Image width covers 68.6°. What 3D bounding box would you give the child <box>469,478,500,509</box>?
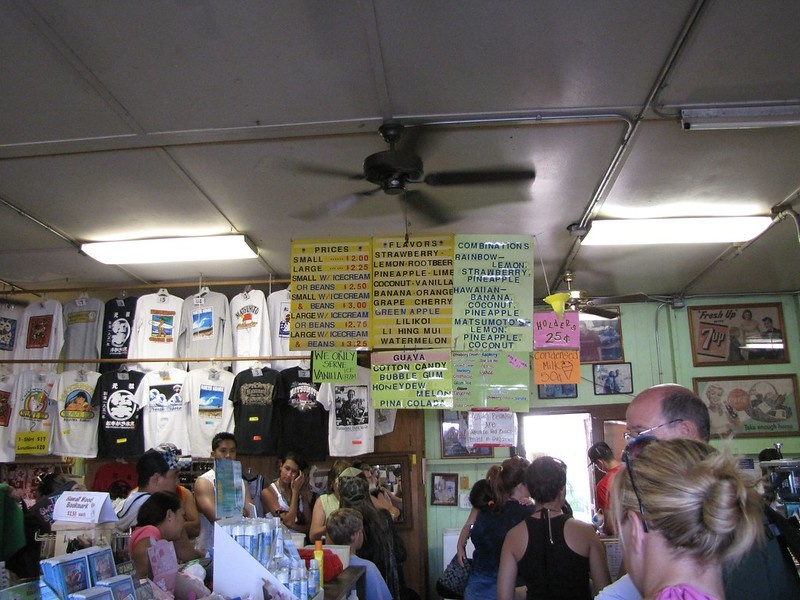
[{"bbox_3d":[0.674,1.583,4.748,0.219,0.253,0.280,-2,-42,-6],"label":"child"}]

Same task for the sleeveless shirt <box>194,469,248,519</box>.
[{"bbox_3d":[-1.491,1.680,5.021,0.489,0.448,0.279,17,-20,-40],"label":"sleeveless shirt"}]

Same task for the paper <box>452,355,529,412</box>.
[{"bbox_3d":[0.798,0.733,5.131,0.587,0.386,0.026,0,-21,4],"label":"paper"}]

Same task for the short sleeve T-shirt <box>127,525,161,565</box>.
[{"bbox_3d":[-1.348,1.292,3.063,0.171,0.160,0.090,-18,-49,-25],"label":"short sleeve T-shirt"}]

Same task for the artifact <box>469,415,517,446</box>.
[{"bbox_3d":[0.957,1.357,6.126,0.583,0.366,0.321,0,-15,6],"label":"artifact"}]

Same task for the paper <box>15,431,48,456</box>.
[{"bbox_3d":[-4.005,1.547,6.326,0.286,0.197,0.040,-1,-32,-4],"label":"paper"}]

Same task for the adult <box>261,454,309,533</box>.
[{"bbox_3d":[-1.224,2.111,6.283,0.480,0.863,1.278,0,-14,-6],"label":"adult"}]

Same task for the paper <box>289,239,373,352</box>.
[{"bbox_3d":[-0.544,-0.027,4.729,0.967,1.161,0.123,0,-10,6],"label":"paper"}]

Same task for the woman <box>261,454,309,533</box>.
[{"bbox_3d":[-1.224,2.111,6.285,0.480,0.863,1.278,0,-14,-6],"label":"woman"}]

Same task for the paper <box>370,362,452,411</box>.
[{"bbox_3d":[0.087,0.694,5.041,0.917,0.522,0.012,-9,-15,40],"label":"paper"}]

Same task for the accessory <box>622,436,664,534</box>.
[{"bbox_3d":[0.847,0.642,2.097,0.078,0.263,0.207,0,-3,20],"label":"accessory"}]

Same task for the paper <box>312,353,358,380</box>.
[{"bbox_3d":[-0.569,0.562,4.983,0.371,0.256,0.197,1,-14,-8],"label":"paper"}]

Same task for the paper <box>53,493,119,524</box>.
[{"bbox_3d":[-1.639,1.098,3.089,0.349,0.169,0.196,-6,-14,20],"label":"paper"}]

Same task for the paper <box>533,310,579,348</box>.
[{"bbox_3d":[1.381,0.285,5.108,0.048,0.368,0.476,0,-1,-43],"label":"paper"}]

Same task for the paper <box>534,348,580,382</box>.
[{"bbox_3d":[1.417,0.596,5.240,0.382,0.301,0.353,-6,-14,19],"label":"paper"}]
